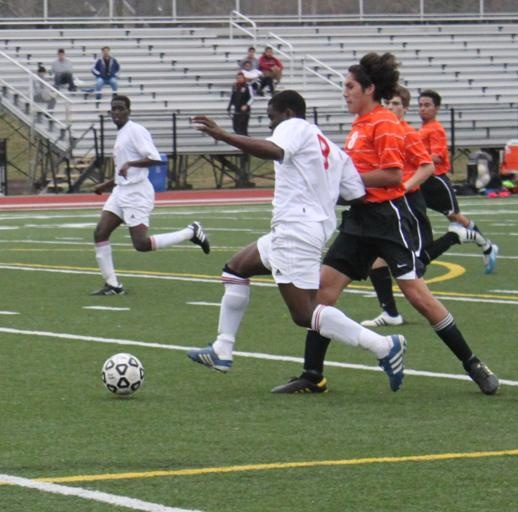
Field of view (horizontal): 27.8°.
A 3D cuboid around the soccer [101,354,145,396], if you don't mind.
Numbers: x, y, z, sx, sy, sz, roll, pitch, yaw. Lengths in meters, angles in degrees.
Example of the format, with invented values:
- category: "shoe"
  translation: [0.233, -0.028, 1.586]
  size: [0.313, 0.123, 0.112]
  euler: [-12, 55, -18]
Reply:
- category: "soccer"
  translation: [-0.816, 0.697, 6.204]
  size: [0.245, 0.227, 0.245]
  euler: [-4, 2, 32]

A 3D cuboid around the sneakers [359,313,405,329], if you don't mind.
- category: "sneakers"
  translation: [1.030, 0.529, 8.623]
  size: [0.497, 0.175, 0.157]
  euler: [0, 1, 3]

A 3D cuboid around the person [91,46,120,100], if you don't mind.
- category: "person"
  translation: [-4.137, -4.892, 27.779]
  size: [0.609, 1.174, 0.932]
  euler: [4, 8, 5]

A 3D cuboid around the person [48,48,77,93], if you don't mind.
- category: "person"
  translation: [-5.256, -4.874, 27.919]
  size: [0.654, 0.922, 0.874]
  euler: [3, 8, -3]

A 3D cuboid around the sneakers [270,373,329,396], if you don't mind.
- category: "sneakers"
  translation: [0.263, 0.776, 6.339]
  size: [0.411, 0.145, 0.115]
  euler: [0, 1, -5]

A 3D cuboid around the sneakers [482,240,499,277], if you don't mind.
- category: "sneakers"
  translation: [2.605, 0.017, 11.731]
  size: [0.187, 0.363, 0.138]
  euler: [-4, 21, 0]

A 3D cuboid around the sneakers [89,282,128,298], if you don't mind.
- category: "sneakers"
  translation: [-1.494, 0.345, 10.377]
  size: [0.349, 0.131, 0.110]
  euler: [0, 1, -9]

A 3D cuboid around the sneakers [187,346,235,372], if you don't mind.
- category: "sneakers"
  translation: [-0.298, 0.622, 6.426]
  size: [0.333, 0.141, 0.115]
  euler: [21, -5, -2]

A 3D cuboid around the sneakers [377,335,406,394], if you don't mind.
- category: "sneakers"
  translation: [0.750, 0.600, 5.903]
  size: [0.175, 0.347, 0.118]
  euler: [-10, 38, 0]

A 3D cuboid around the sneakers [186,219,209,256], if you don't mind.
- category: "sneakers"
  translation: [-0.623, -0.192, 11.012]
  size: [0.144, 0.411, 0.188]
  euler: [3, 46, 50]
